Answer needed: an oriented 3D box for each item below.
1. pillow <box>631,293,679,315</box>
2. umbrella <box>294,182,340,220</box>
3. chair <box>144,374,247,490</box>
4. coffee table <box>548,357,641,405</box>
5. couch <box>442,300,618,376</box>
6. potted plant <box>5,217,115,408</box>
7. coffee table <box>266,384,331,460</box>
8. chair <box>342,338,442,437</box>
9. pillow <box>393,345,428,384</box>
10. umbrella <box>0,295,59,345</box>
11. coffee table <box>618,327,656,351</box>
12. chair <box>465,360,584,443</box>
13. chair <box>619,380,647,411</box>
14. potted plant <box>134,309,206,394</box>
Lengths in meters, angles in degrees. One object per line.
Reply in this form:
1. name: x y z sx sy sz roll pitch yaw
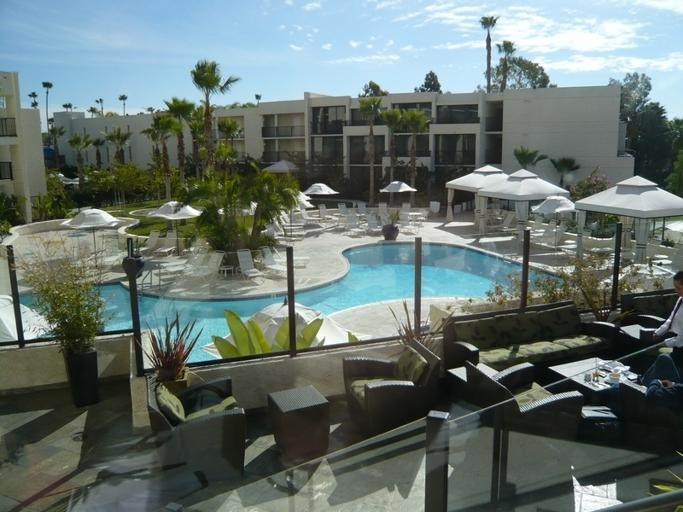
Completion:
1. pillow: 5.563 0.872 9.085 0.677 0.445 0.368 -2 11 -7
2. umbrella: -1.353 -2.771 28.961 2.687 2.256 2.692 0 10 -1
3. chair: -1.761 2.018 6.148 1.066 0.994 1.036 -4 16 -22
4. coffee table: 2.455 1.209 4.930 0.620 0.374 0.613 -14 21 -26
5. couch: 3.004 1.387 8.098 2.724 0.946 0.882 -5 4 -19
6. potted plant: -4.305 0.964 8.008 1.436 2.453 1.155 7 15 43
7. coffee table: -0.524 2.148 6.690 0.739 0.749 0.719 -1 -1 -24
8. chair: 0.672 1.785 7.110 1.109 0.991 1.047 -2 10 -9
9. pillow: 0.951 1.526 7.046 0.156 0.399 0.424 12 -1 -20
10. umbrella: -4.934 1.015 8.038 0.893 0.268 0.648 12 36 -12
11. coffee table: 4.662 1.316 8.060 0.411 0.405 0.396 -17 21 -30
12. chair: 1.568 1.264 4.538 0.850 0.705 0.776 4 13 -9
13. chair: 2.688 1.301 4.737 0.267 0.272 0.199 3 -10 -32
14. potted plant: -2.499 1.478 7.410 1.093 1.056 1.100 -3 1 10
